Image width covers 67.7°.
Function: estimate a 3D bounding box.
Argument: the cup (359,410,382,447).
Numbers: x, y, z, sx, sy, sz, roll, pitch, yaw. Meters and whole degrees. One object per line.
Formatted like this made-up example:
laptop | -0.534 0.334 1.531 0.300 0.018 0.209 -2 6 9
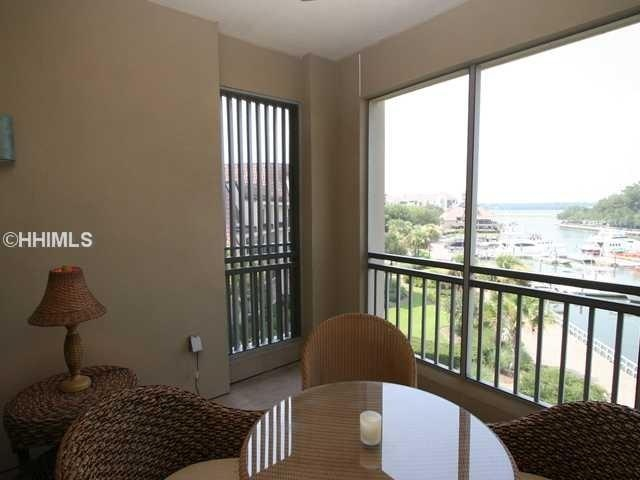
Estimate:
cup | 0.247 0.921 2.335 0.122 0.143 0.130 -1 -11 0
